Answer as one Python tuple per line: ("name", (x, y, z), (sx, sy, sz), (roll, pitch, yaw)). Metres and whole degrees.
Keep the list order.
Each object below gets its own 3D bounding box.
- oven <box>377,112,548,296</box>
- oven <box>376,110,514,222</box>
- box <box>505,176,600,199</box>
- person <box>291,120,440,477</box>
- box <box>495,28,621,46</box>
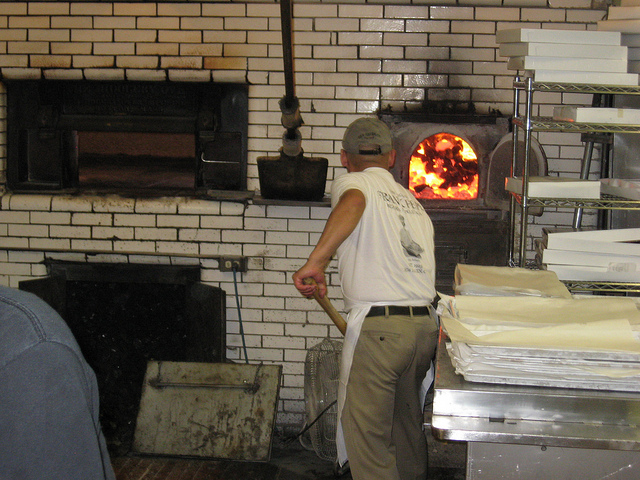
("oven", (0.984, -0.137, 7.311), (1.056, 1.625, 0.766), (3, -27, 7))
("oven", (0.946, -0.560, 7.349), (1.187, 0.967, 0.711), (0, 4, -2))
("box", (1.418, -0.317, 6.007), (0.546, 0.147, 0.374), (0, 1, 13))
("person", (0.309, 0.322, 5.880), (0.829, 2.129, 0.489), (0, 1, -9))
("box", (1.405, -1.197, 5.764), (0.720, 0.125, 0.179), (0, 1, 9))
